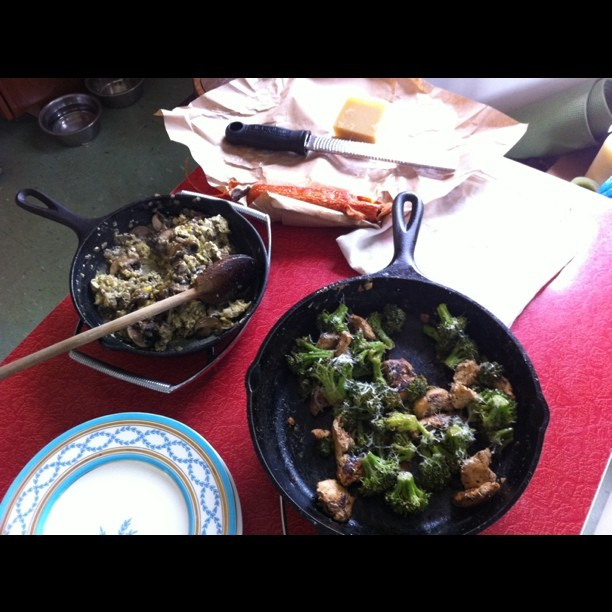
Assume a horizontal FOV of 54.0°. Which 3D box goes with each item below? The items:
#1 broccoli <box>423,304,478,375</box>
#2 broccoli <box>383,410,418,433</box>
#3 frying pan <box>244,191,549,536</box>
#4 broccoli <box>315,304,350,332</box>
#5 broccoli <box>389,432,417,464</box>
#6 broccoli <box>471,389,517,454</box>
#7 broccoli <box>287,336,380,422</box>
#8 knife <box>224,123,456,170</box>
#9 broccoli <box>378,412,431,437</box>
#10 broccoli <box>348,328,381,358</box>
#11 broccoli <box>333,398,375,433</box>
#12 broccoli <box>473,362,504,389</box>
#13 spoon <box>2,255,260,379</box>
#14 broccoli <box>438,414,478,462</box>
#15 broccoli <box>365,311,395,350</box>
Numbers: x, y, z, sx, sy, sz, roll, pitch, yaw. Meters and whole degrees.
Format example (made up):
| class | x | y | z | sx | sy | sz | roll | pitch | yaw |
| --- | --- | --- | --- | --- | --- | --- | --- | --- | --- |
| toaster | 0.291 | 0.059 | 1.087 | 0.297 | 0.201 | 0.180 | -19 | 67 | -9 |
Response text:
| class | x | y | z | sx | sy | sz | roll | pitch | yaw |
| --- | --- | --- | --- | --- | --- | --- | --- | --- | --- |
| broccoli | 0.251 | 0.063 | 1.077 | 0.077 | 0.117 | 0.090 | -34 | 73 | -7 |
| broccoli | 0.147 | 0.183 | 0.930 | 0.046 | 0.019 | 0.027 | -2 | 83 | -1 |
| frying pan | 0.105 | 0.097 | 0.954 | 0.435 | 0.195 | 0.542 | -22 | 70 | -7 |
| broccoli | 0.046 | 0.022 | 1.039 | 0.049 | 0.022 | 0.046 | 35 | 73 | 4 |
| broccoli | 0.149 | 0.221 | 0.931 | 0.050 | 0.027 | 0.037 | 21 | 88 | -3 |
| broccoli | 0.290 | 0.172 | 0.927 | 0.043 | 0.074 | 0.086 | -24 | 109 | -34 |
| broccoli | 0.048 | 0.118 | 0.977 | 0.164 | 0.052 | 0.095 | 30 | 78 | 36 |
| knife | 0.070 | -0.354 | 1.347 | 0.623 | 0.059 | 0.058 | 6 | 61 | 0 |
| broccoli | 0.151 | 0.185 | 0.933 | 0.076 | 0.027 | 0.032 | 10 | 71 | 0 |
| broccoli | 0.089 | 0.065 | 1.021 | 0.047 | 0.012 | 0.041 | -11 | 40 | -11 |
| broccoli | 0.068 | 0.171 | 0.954 | 0.048 | 0.029 | 0.053 | -33 | 72 | -11 |
| broccoli | 0.296 | 0.112 | 0.974 | 0.047 | 0.015 | 0.036 | -3 | 86 | 14 |
| spoon | -0.291 | 0.019 | 1.010 | 0.489 | 0.063 | 0.088 | -17 | 55 | -17 |
| broccoli | 0.232 | 0.202 | 0.925 | 0.053 | 0.024 | 0.063 | -20 | 50 | -24 |
| broccoli | 0.129 | 0.045 | 1.085 | 0.043 | 0.034 | 0.068 | -47 | 65 | 1 |
